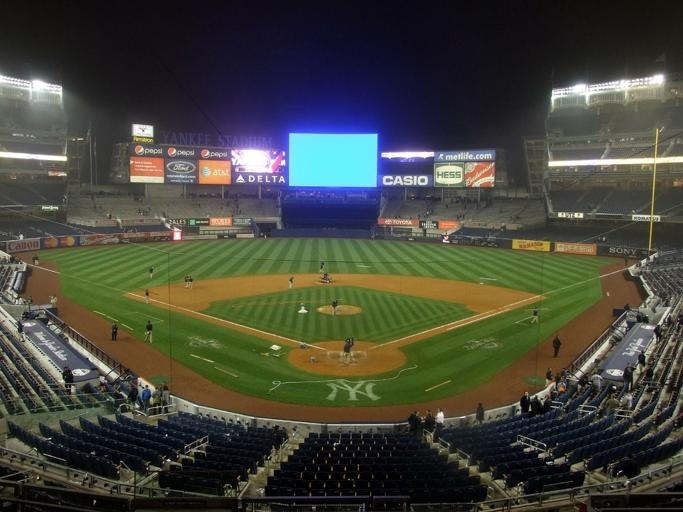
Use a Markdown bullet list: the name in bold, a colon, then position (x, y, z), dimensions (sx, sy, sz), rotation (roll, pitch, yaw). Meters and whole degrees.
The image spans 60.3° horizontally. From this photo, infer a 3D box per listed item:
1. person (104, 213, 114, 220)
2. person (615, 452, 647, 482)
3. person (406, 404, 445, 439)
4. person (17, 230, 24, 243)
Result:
- **person**: position (-28.204, -4.779, 71.181), dimensions (0.701, 1.239, 0.710), rotation (7, 15, 26)
- **person**: position (8.479, 6.131, 17.300), dimensions (0.626, 0.496, 0.991), rotation (-11, 5, 17)
- **person**: position (3.320, 6.593, 22.727), dimensions (0.970, 1.015, 1.448), rotation (2, -1, -24)
- **person**: position (-31.705, -1.884, 58.024), dimensions (1.017, 0.228, 2.108), rotation (-19, 27, -14)
